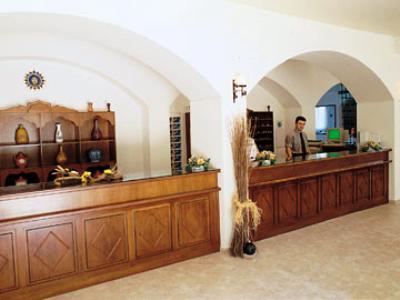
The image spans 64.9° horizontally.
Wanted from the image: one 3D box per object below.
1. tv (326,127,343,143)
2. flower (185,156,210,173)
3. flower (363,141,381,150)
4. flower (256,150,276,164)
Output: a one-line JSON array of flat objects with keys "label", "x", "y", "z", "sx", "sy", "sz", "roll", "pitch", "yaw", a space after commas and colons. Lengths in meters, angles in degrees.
[{"label": "tv", "x": 4.893, "y": -0.540, "z": 11.362, "sx": 0.649, "sy": 0.638, "sz": 0.674, "roll": 1, "pitch": 4, "yaw": 16}, {"label": "flower", "x": -0.043, "y": 0.233, "z": 5.302, "sx": 0.305, "sy": 0.172, "sz": 0.293, "roll": 0, "pitch": 3, "yaw": -2}, {"label": "flower", "x": 4.042, "y": -0.149, "z": 7.355, "sx": 0.287, "sy": 0.184, "sz": 0.283, "roll": 1, "pitch": 3, "yaw": 24}, {"label": "flower", "x": 1.189, "y": 0.103, "z": 5.781, "sx": 0.274, "sy": 0.204, "sz": 0.275, "roll": -2, "pitch": 4, "yaw": -19}]
